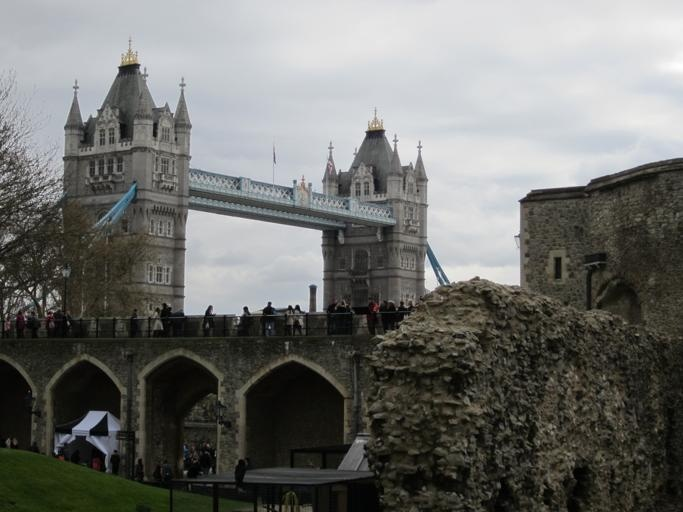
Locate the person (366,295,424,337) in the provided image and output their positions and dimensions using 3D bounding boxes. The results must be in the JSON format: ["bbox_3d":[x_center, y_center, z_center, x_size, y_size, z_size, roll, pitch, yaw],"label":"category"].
[{"bbox_3d":[1.567,1.801,48.351,1.273,1.599,1.020,-11,-5,41],"label":"person"}]

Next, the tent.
[{"bbox_3d":[-8.352,6.066,52.127,2.138,2.188,4.228,3,-10,-10],"label":"tent"}]

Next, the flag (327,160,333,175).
[{"bbox_3d":[-1.030,-8.176,143.113,0.552,1.105,0.450,8,-12,-36],"label":"flag"}]
